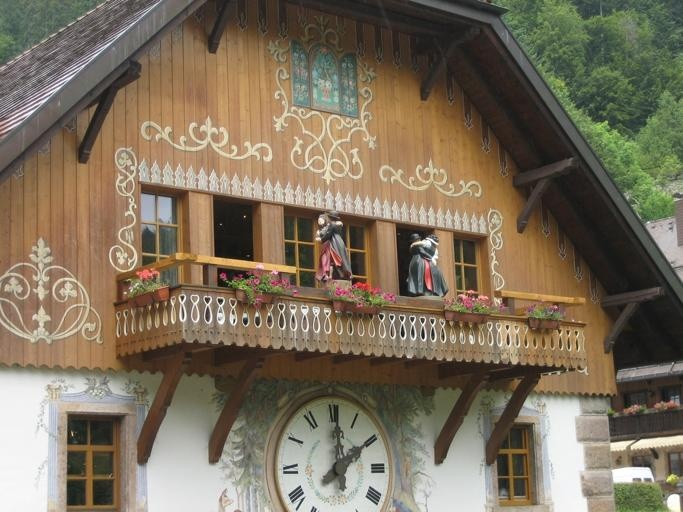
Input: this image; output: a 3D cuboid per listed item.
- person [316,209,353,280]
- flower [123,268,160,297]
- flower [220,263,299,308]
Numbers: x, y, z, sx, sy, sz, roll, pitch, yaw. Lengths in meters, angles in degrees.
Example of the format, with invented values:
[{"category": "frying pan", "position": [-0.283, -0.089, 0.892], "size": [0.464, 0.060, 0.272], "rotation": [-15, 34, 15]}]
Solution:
[{"category": "person", "position": [-0.208, -0.195, 39.620], "size": [0.662, 1.621, 0.794], "rotation": [5, -7, -25]}, {"category": "flower", "position": [-4.209, 0.574, 37.755], "size": [0.625, 0.516, 0.564], "rotation": [-12, -3, -29]}, {"category": "flower", "position": [-1.704, 0.709, 38.436], "size": [1.679, 0.867, 1.990], "rotation": [-2, 2, 30]}]
